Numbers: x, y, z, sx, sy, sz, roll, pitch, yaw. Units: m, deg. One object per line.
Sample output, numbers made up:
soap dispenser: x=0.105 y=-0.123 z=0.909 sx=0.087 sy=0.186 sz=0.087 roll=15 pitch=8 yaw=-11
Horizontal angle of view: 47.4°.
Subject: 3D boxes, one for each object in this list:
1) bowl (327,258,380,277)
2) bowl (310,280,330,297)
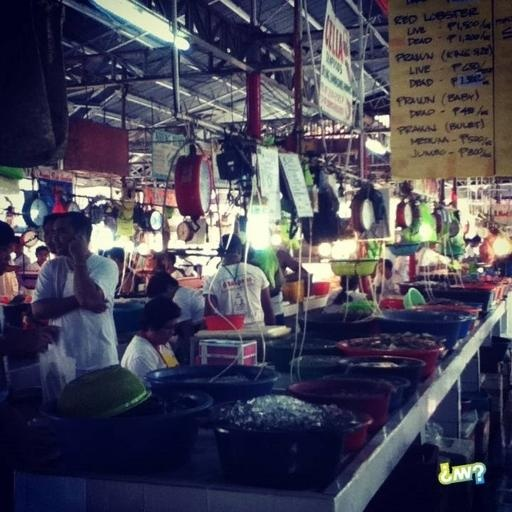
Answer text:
bowl: x=0.559 y=0.063 z=3.366 sx=0.259 sy=0.127 sz=0.255 roll=4 pitch=6 yaw=0
bowl: x=0.819 y=0.413 z=7.291 sx=0.150 sy=0.143 sz=0.167 roll=-2 pitch=-8 yaw=25
